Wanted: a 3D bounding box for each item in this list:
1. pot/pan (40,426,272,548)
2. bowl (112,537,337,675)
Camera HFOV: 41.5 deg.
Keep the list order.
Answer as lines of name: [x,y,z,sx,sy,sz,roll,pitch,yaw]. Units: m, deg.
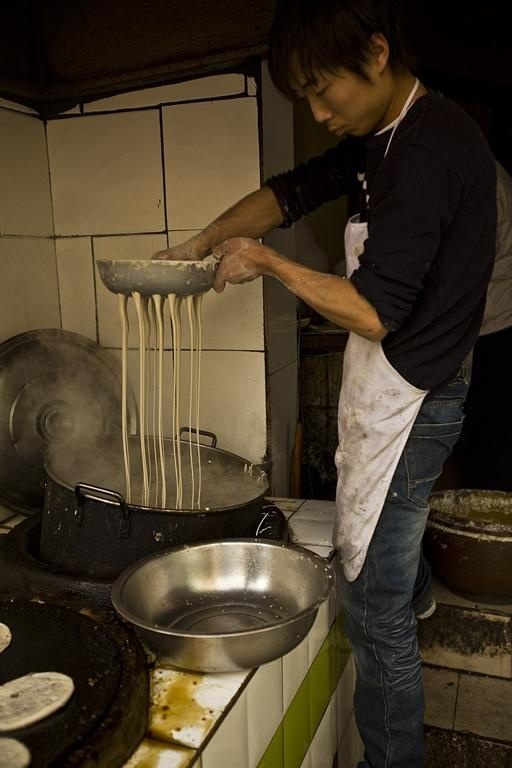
pot/pan: [-0.274,0.279,1.606,0.326,0.140,0.387,10,6,28]
bowl: [-0.061,0.439,1.301,0.444,0.177,0.399,3,10,-18]
